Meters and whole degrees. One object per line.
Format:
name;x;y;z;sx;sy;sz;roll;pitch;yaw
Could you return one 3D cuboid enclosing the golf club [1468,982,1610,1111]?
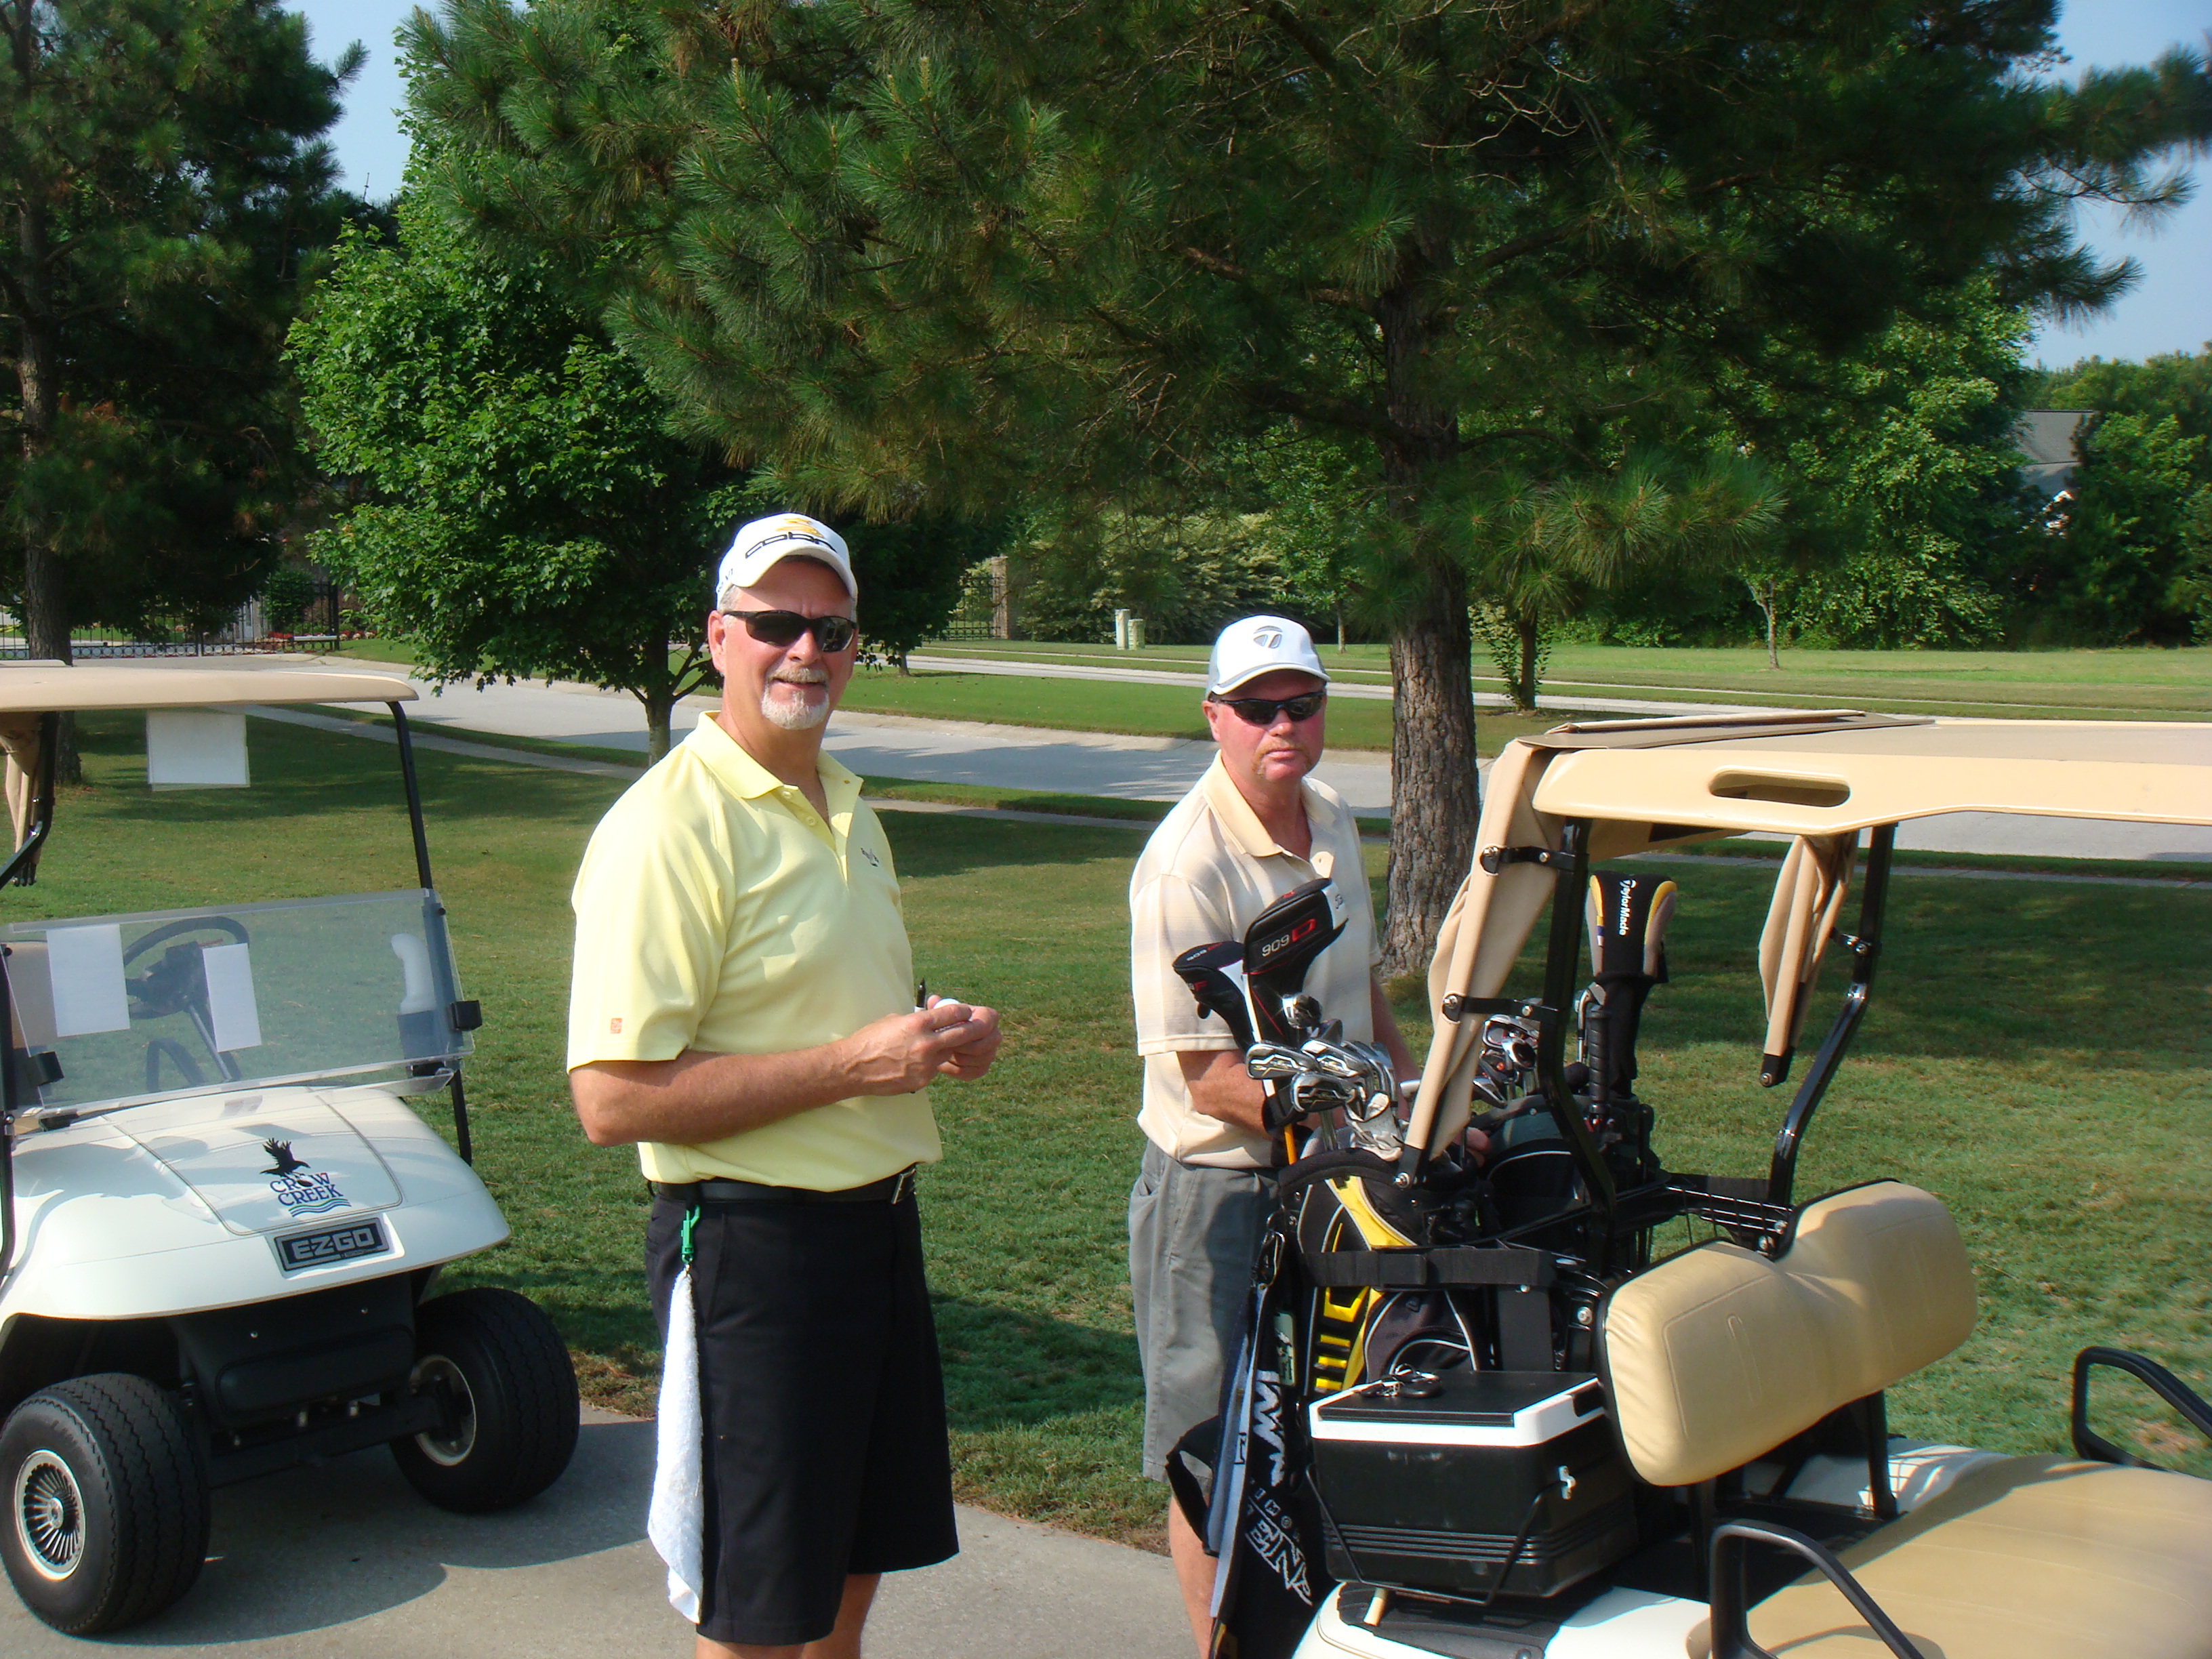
golf club;0.781;0.423;3.918;0.223;0.279;0.264;11;-4;10
